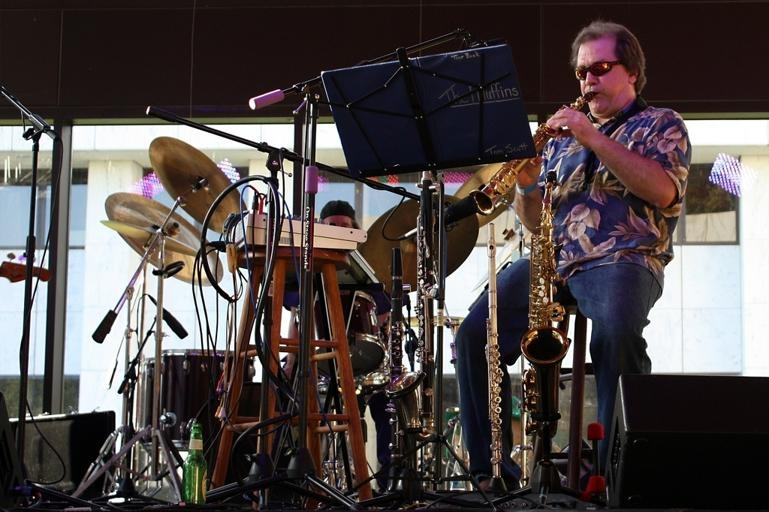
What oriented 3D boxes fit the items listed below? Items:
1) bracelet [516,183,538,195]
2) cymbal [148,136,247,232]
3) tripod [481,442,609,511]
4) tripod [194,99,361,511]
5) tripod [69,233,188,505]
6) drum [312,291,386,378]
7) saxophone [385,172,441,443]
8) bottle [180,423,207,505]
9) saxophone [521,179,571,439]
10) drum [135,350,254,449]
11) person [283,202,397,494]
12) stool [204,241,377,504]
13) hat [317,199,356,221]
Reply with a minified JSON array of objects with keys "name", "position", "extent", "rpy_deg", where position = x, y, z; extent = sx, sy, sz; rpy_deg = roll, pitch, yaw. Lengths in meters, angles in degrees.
[{"name":"bracelet","position":[0.977,-0.443,8.974],"extent":[0.094,0.023,0.097],"rpy_deg":[-8,-18,30]},{"name":"cymbal","position":[-1.547,-0.612,10.388],"extent":[0.901,0.230,0.912],"rpy_deg":[34,-11,21]},{"name":"tripod","position":[1.059,1.401,8.171],"extent":[0.498,0.202,0.504],"rpy_deg":[-10,-27,27]},{"name":"tripod","position":[-0.608,0.363,8.551],"extent":[1.059,2.584,1.169],"rpy_deg":[1,-9,-1]},{"name":"tripod","position":[-1.985,0.961,10.271],"extent":[1.202,2.089,1.045],"rpy_deg":[3,-33,-2]},{"name":"drum","position":[-0.180,0.573,9.728],"extent":[0.615,0.583,0.601],"rpy_deg":[-12,-22,-5]},{"name":"saxophone","position":[0.273,0.323,8.401],"extent":[0.192,1.721,0.304],"rpy_deg":[0,-9,-1]},{"name":"bottle","position":[-1.159,1.286,7.998],"extent":[0.149,0.497,0.310],"rpy_deg":[2,-9,-8]},{"name":"saxophone","position":[1.051,0.355,8.509],"extent":[0.306,1.683,0.588],"rpy_deg":[-1,-9,7]},{"name":"drum","position":[-1.483,1.146,9.982],"extent":[0.810,0.709,0.791],"rpy_deg":[-1,-9,6]},{"name":"person","position":[-0.312,0.701,8.965],"extent":[1.000,1.949,1.081],"rpy_deg":[10,-43,-7]},{"name":"stool","position":[-0.612,0.814,8.737],"extent":[1.151,1.950,1.100],"rpy_deg":[7,-26,-12]},{"name":"hat","position":[-0.354,-0.355,10.571],"extent":[0.219,0.126,0.208],"rpy_deg":[5,-8,-30]}]
